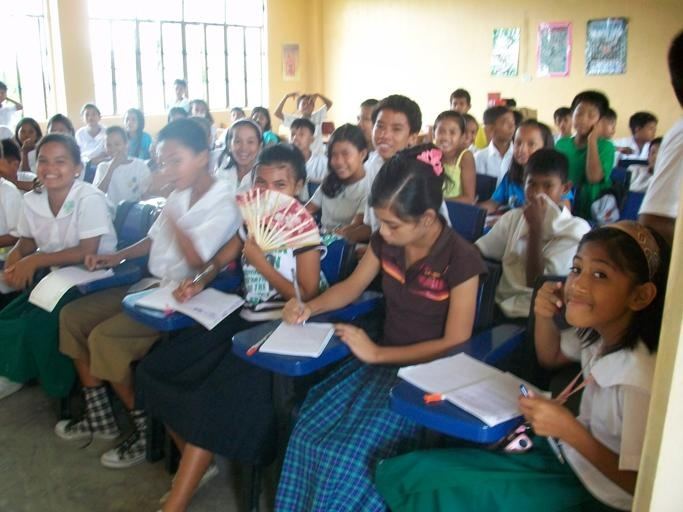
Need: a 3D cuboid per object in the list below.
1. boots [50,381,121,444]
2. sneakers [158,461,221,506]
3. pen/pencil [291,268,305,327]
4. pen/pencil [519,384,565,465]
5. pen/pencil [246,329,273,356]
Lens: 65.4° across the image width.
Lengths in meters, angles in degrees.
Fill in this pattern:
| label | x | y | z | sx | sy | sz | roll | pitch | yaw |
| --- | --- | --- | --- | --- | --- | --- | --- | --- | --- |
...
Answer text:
| label | x | y | z | sx | sy | sz | roll | pitch | yaw |
| --- | --- | --- | --- | --- | --- | --- | --- | --- | --- |
| boots | -1.119 | 0.667 | 2.322 | 0.285 | 0.227 | 0.141 | 1 | 11 | 1 |
| sneakers | -0.541 | 0.823 | 1.920 | 0.217 | 0.068 | 0.092 | -41 | 2 | -37 |
| pen/pencil | -0.149 | 0.144 | 1.830 | 0.019 | 0.195 | 0.020 | -1 | 19 | 29 |
| pen/pencil | 0.501 | 0.432 | 1.344 | 0.029 | 0.224 | 0.023 | -37 | 17 | -35 |
| pen/pencil | -0.249 | 0.266 | 1.648 | 0.025 | 0.014 | 0.115 | 1 | 22 | 23 |
